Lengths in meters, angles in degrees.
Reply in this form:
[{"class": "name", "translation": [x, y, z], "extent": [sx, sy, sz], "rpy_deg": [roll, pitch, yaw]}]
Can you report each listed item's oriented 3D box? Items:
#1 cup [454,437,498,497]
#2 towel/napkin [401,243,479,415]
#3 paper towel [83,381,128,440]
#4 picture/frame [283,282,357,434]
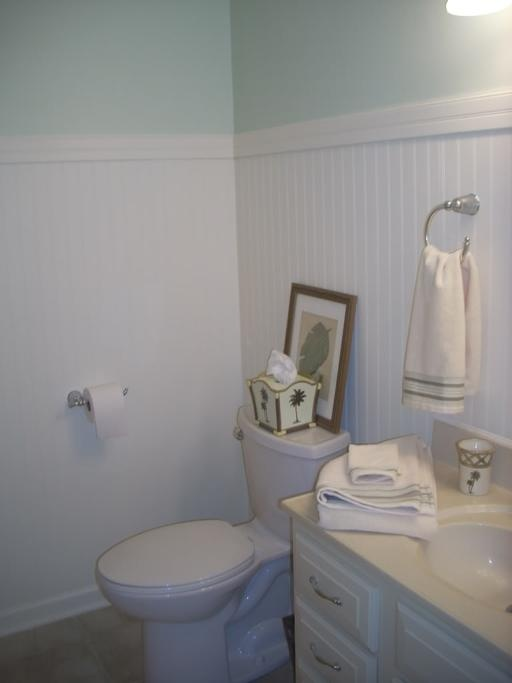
[{"class": "cup", "translation": [0.458, 0.258, 1.170], "extent": [0.078, 0.102, 0.080], "rpy_deg": [-3, 4, 0]}, {"class": "towel/napkin", "translation": [0.385, -0.030, 1.152], "extent": [0.160, 0.337, 0.137], "rpy_deg": [-3, 3, 5]}, {"class": "paper towel", "translation": [-0.503, 0.232, 1.867], "extent": [0.120, 0.182, 0.149], "rpy_deg": [-5, 8, -18]}, {"class": "picture/frame", "translation": [0.192, 0.057, 1.604], "extent": [0.022, 0.454, 0.308], "rpy_deg": [3, 8, -23]}]
